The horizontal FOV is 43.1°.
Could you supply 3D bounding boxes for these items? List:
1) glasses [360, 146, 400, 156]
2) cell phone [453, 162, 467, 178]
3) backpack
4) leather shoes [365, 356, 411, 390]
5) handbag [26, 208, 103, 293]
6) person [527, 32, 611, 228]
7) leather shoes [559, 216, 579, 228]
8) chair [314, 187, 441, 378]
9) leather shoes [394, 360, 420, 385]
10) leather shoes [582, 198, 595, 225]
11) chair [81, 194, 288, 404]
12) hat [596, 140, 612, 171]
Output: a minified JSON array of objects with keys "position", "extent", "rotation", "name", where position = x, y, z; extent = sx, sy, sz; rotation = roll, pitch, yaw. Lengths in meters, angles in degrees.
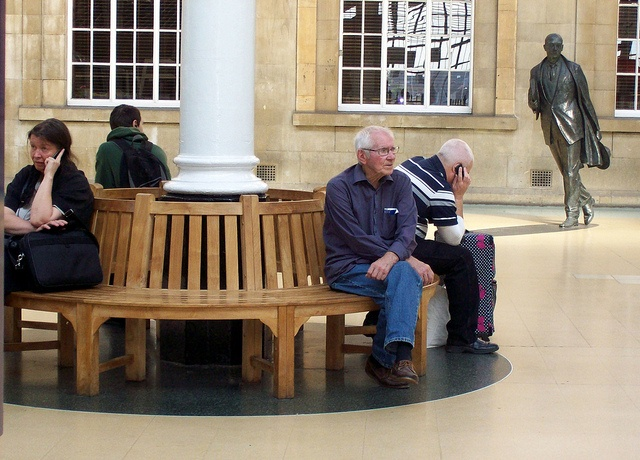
[{"position":[0.484,-0.571,5.823],"extent":[0.202,0.063,0.343],"rotation":[9,13,43],"name":"glasses"},{"position":[1.112,-0.475,6.401],"extent":[0.072,0.092,0.100],"rotation":[6,-32,4],"name":"cell phone"},{"position":[-1.669,-0.599,7.373],"extent":[0.314,0.581,0.393],"rotation":[-26,-14,38],"name":"backpack"},{"position":[0.465,1.005,5.721],"extent":[0.149,0.171,0.365],"rotation":[3,10,-42],"name":"leather shoes"},{"position":[-1.806,0.126,5.601],"extent":[0.234,0.592,0.574],"rotation":[-20,-13,40],"name":"handbag"},{"position":[3.974,-1.585,13.013],"extent":[1.191,3.005,0.516],"rotation":[2,8,15],"name":"person"},{"position":[4.051,-0.117,13.066],"extent":[0.444,0.190,0.147],"rotation":[1,-2,-43],"name":"leather shoes"},{"position":[0.440,0.127,5.765],"extent":[0.559,1.678,0.845],"rotation":[1,-1,-20],"name":"chair"},{"position":[0.572,0.955,5.435],"extent":[0.169,0.159,0.152],"rotation":[1,9,8],"name":"leather shoes"},{"position":[4.423,-0.317,13.407],"extent":[0.219,0.538,0.154],"rotation":[29,-28,-32],"name":"leather shoes"},{"position":[-0.913,0.430,5.612],"extent":[1.458,1.326,0.750],"rotation":[-1,8,-4],"name":"chair"},{"position":[4.737,-1.222,13.222],"extent":[0.105,0.442,0.412],"rotation":[-3,-4,-25],"name":"hat"}]
